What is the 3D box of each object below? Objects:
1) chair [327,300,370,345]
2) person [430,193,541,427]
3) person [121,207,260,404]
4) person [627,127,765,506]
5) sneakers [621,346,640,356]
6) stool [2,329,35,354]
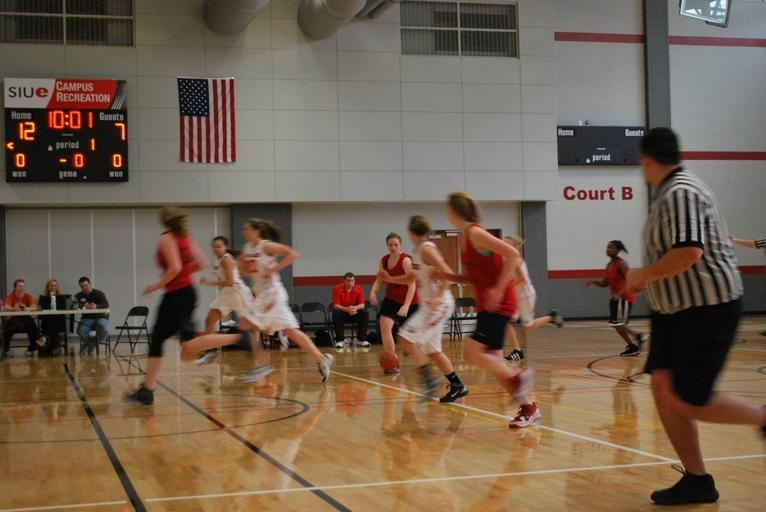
[{"bbox_3d":[-0.669,1.404,13.038,0.718,0.986,0.776,2,-28,-6],"label":"chair"},{"bbox_3d":[0.960,0.535,6.182,0.888,2.294,0.716,0,2,18],"label":"person"},{"bbox_3d":[-2.273,0.558,7.243,1.054,2.204,0.694,-2,2,-39],"label":"person"},{"bbox_3d":[2.129,0.431,4.509,0.784,2.709,0.470,0,2,20],"label":"person"},{"bbox_3d":[4.033,1.563,10.586,0.361,0.167,0.123,-4,-3,-4],"label":"sneakers"},{"bbox_3d":[-7.205,1.710,12.733,0.539,0.497,0.214,3,-14,-25],"label":"stool"}]
